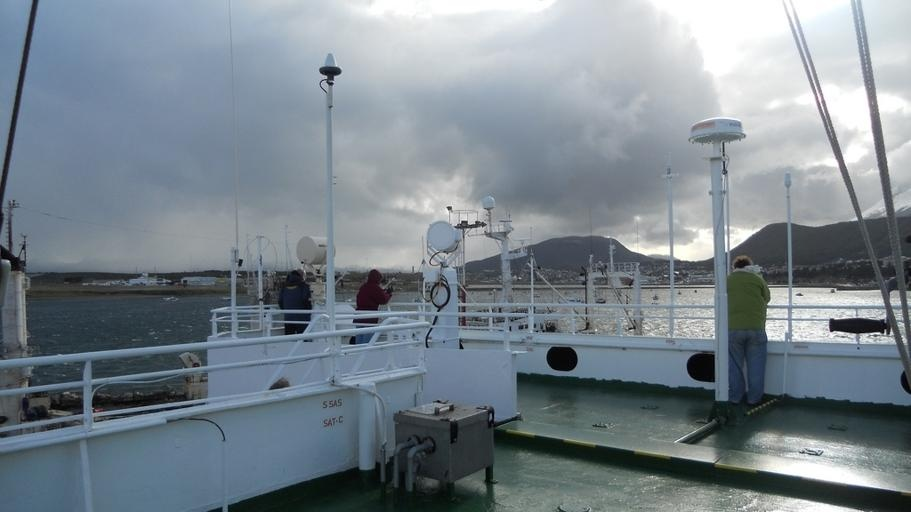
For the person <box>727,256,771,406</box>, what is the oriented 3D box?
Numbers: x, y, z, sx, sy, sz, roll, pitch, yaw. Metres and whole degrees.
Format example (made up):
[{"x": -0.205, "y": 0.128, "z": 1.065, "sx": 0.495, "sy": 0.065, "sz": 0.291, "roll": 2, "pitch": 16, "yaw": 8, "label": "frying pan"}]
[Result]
[{"x": 6.356, "y": 1.622, "z": 12.706, "sx": 0.878, "sy": 3.266, "sz": 1.232, "roll": -3, "pitch": -5, "yaw": 26, "label": "person"}]

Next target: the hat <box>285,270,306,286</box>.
[{"x": -3.983, "y": 0.553, "z": 14.614, "sx": 0.464, "sy": 0.388, "sz": 0.496, "roll": 1, "pitch": -5, "yaw": -21, "label": "hat"}]
